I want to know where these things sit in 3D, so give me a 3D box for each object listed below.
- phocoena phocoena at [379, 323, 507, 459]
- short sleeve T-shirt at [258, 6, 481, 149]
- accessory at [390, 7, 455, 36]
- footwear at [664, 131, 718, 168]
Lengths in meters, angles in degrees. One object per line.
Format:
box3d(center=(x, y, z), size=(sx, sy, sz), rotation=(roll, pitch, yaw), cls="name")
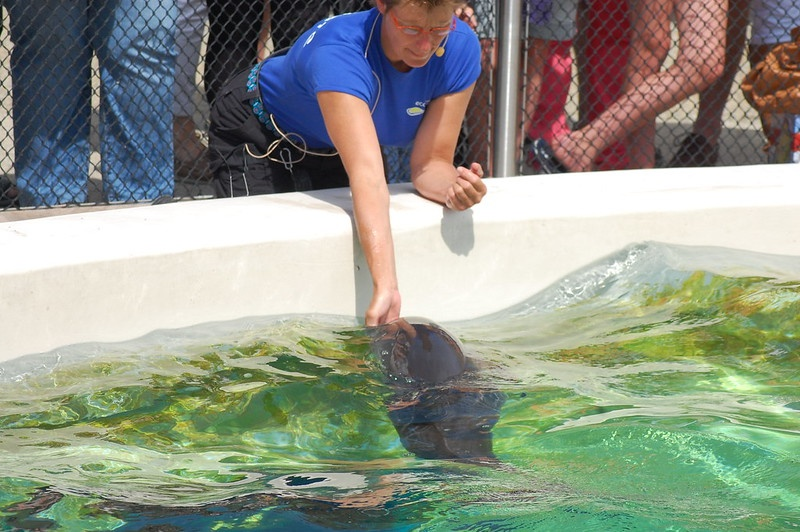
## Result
box3d(center=(0.105, 0.343, 2.645), size=(0.298, 0.272, 0.392), rotation=(-2, 9, -2), cls="phocoena phocoena")
box3d(center=(-0.101, -0.590, 3.139), size=(0.451, 0.237, 0.680), rotation=(-3, 3, -29), cls="short sleeve T-shirt")
box3d(center=(0.061, -0.741, 2.961), size=(0.188, 0.077, 0.056), rotation=(-2, 9, -6), cls="accessory")
box3d(center=(1.444, -0.580, 4.864), size=(0.247, 0.169, 0.409), rotation=(0, 9, 12), cls="footwear")
